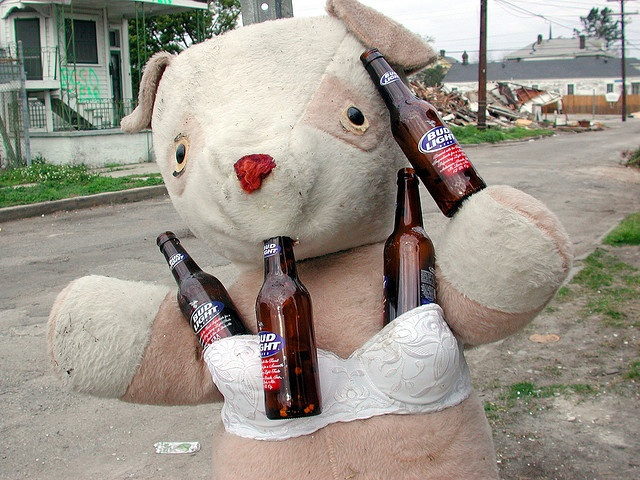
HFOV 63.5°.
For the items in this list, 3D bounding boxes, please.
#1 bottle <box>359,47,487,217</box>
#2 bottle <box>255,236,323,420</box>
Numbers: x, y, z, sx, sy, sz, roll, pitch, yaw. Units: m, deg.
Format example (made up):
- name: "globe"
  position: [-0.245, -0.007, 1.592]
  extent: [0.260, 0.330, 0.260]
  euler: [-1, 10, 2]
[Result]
- name: "bottle"
  position: [0.335, -0.353, 1.681]
  extent: [0.209, 0.555, 0.379]
  euler: [-11, 14, -31]
- name: "bottle"
  position: [-0.096, 0.260, 1.513]
  extent: [0.168, 0.536, 0.177]
  euler: [-3, 13, 1]
